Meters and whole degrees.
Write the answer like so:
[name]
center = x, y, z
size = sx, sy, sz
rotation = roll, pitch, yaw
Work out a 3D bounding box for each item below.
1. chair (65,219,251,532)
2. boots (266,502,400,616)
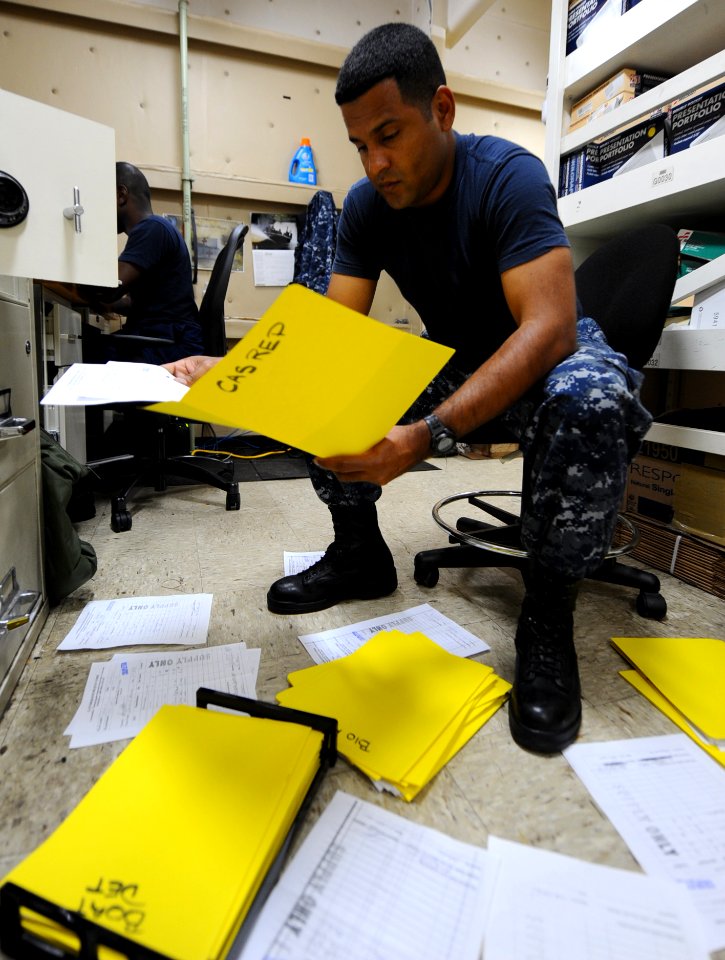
[chair]
center = -0.671, -0.503, 2.495
size = 0.493, 0.751, 0.496
rotation = 10, 6, 40
[boots]
center = -0.104, 0.156, 1.378
size = 0.316, 0.227, 0.130
rotation = -2, 5, -16
